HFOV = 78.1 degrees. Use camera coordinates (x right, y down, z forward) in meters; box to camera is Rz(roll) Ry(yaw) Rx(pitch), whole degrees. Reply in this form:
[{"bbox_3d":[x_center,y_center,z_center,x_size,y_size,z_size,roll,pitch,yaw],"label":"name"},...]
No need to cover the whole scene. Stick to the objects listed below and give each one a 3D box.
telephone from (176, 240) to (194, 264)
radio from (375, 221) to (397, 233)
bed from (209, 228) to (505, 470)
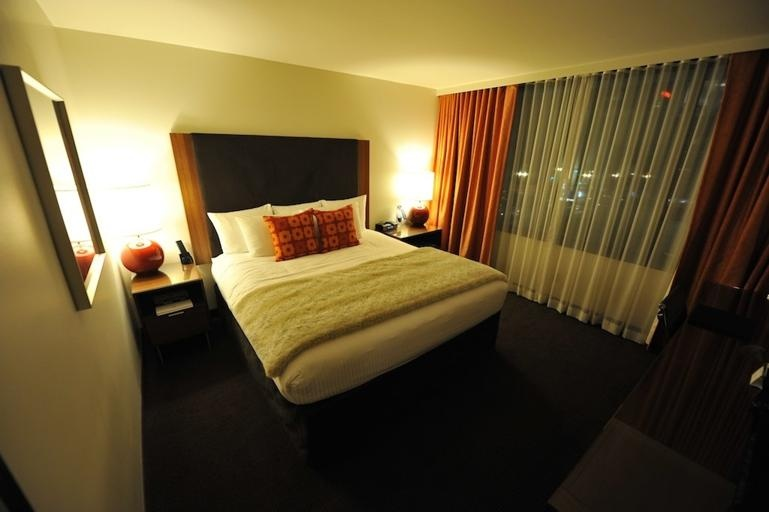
[{"bbox_3d":[-1.980,-0.050,4.703,0.121,0.240,0.212,-12,19,-22],"label":"telephone"},{"bbox_3d":[0.047,-0.378,6.015,0.171,0.075,0.171,-21,36,-39],"label":"radio"},{"bbox_3d":[-0.158,0.652,4.410,2.287,1.163,1.443,-13,19,-24],"label":"bed"}]
